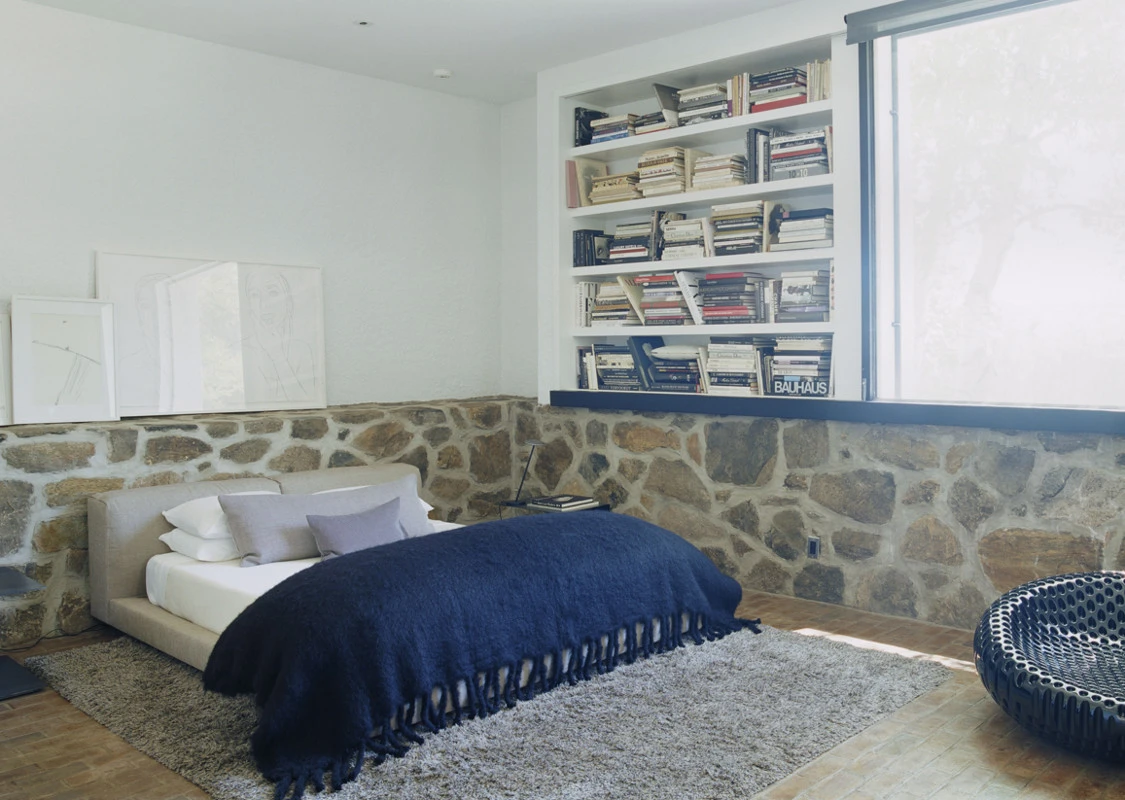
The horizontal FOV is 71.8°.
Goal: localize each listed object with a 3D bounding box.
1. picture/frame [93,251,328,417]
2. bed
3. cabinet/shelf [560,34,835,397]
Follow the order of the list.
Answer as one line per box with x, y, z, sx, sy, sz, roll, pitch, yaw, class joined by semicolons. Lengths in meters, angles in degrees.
-2.362;-0.428;5.082;1.250;0.825;0.133;-1;2;-40;picture/frame
-1.127;0.998;3.793;1.836;0.507;1.781;-2;1;-42;bed
0.973;-1.286;5.286;2.546;2.267;0.829;1;3;37;cabinet/shelf
